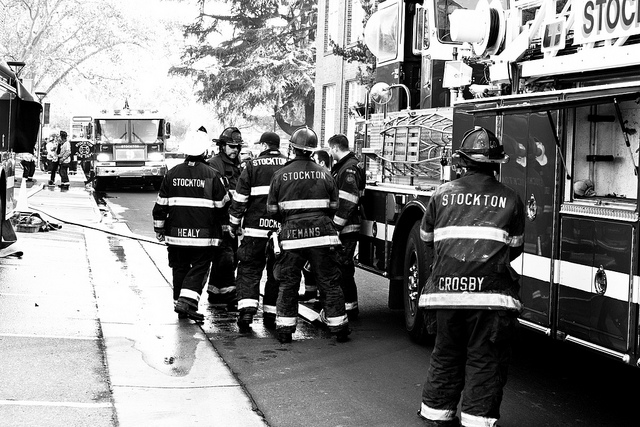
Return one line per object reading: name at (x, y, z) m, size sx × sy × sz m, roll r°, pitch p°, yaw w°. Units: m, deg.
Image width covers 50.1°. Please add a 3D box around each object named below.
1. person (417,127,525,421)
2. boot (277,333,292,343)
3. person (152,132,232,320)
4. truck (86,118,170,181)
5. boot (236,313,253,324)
person at (1.284, 0.551, 5.921) m, size 0.842 × 2.547 × 0.686 m, roll 5°, pitch 7°, yaw 28°
boot at (-0.391, 1.453, 8.100) m, size 0.164 × 0.113 × 0.116 m, roll 1°, pitch 7°, yaw -15°
person at (-1.669, 0.106, 8.948) m, size 0.793 × 2.336 × 0.846 m, roll 5°, pitch 6°, yaw 24°
truck at (-7.283, -3.128, 26.811) m, size 3.179 × 3.189 × 6.481 m, roll 0°, pitch 1°, yaw -13°
boot at (-0.893, 1.300, 8.517) m, size 0.075 × 0.098 × 0.210 m, roll 2°, pitch 5°, yaw -24°
